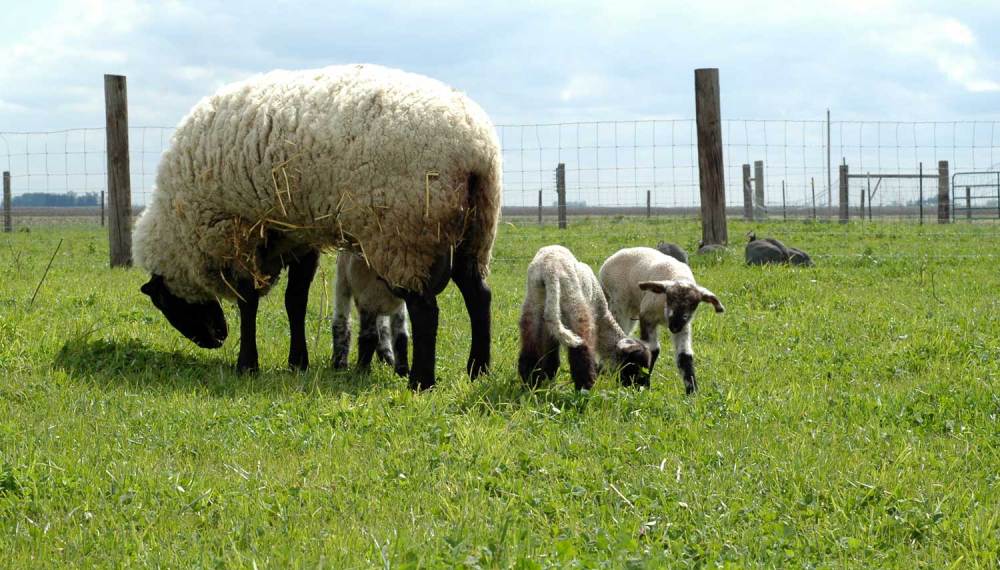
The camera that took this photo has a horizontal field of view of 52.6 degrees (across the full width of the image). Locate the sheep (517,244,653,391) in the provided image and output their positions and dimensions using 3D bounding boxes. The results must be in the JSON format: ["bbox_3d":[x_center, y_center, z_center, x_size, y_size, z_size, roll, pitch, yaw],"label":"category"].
[{"bbox_3d":[0.896,0.382,11.285,1.362,1.410,1.022,1,15,0],"label":"sheep"}]

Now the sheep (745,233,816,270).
[{"bbox_3d":[5.135,-0.635,18.717,1.085,0.705,0.582,2,-1,10],"label":"sheep"}]
